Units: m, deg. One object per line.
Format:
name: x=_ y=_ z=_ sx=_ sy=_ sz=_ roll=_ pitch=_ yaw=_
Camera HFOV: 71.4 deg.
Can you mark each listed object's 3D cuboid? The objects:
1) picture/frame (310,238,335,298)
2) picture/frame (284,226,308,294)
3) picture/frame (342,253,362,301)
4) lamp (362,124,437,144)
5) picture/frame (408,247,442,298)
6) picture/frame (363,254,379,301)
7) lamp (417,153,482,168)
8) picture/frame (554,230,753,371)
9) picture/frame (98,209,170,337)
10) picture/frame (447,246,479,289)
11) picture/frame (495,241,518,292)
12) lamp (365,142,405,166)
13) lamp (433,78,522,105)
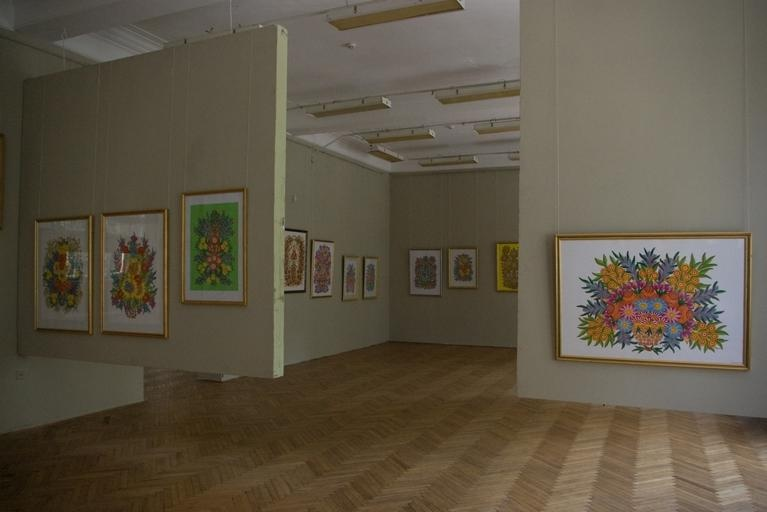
picture/frame: x=-1.612 y=0.323 z=13.663 sx=0.122 sy=1.967 sz=1.401 roll=-2 pitch=-3 yaw=25
picture/frame: x=-2.123 y=0.102 z=12.653 sx=0.112 sy=1.841 sz=1.490 roll=-1 pitch=-2 yaw=20
picture/frame: x=-0.933 y=0.594 z=14.903 sx=0.132 sy=1.434 sz=1.226 roll=-2 pitch=-2 yaw=23
lamp: x=0.428 y=-3.000 z=13.076 sx=1.832 sy=0.333 sz=0.317 roll=1 pitch=-8 yaw=38
picture/frame: x=1.305 y=0.505 z=16.501 sx=1.012 sy=1.372 sz=0.077 roll=0 pitch=1 yaw=19
picture/frame: x=-0.428 y=0.642 z=15.858 sx=0.094 sy=1.382 sz=1.250 roll=-2 pitch=-3 yaw=21
lamp: x=1.931 y=-2.774 z=15.658 sx=1.700 sy=0.272 sz=0.841 roll=0 pitch=1 yaw=9
picture/frame: x=2.954 y=0.471 z=5.653 sx=1.351 sy=1.152 sz=0.053 roll=0 pitch=-2 yaw=18
picture/frame: x=-3.387 y=0.252 z=7.290 sx=1.553 sy=2.391 sz=0.085 roll=-1 pitch=-2 yaw=25
picture/frame: x=2.428 y=0.378 z=16.094 sx=1.105 sy=1.657 sz=0.077 roll=-2 pitch=-4 yaw=19
picture/frame: x=3.606 y=0.342 z=15.690 sx=0.547 sy=1.471 sz=0.209 roll=0 pitch=1 yaw=1
lamp: x=-0.040 y=-2.880 z=14.865 sx=0.533 sy=0.348 sz=1.336 roll=0 pitch=1 yaw=22
lamp: x=1.789 y=-3.152 z=10.391 sx=1.680 sy=0.265 sz=0.317 roll=0 pitch=1 yaw=26
